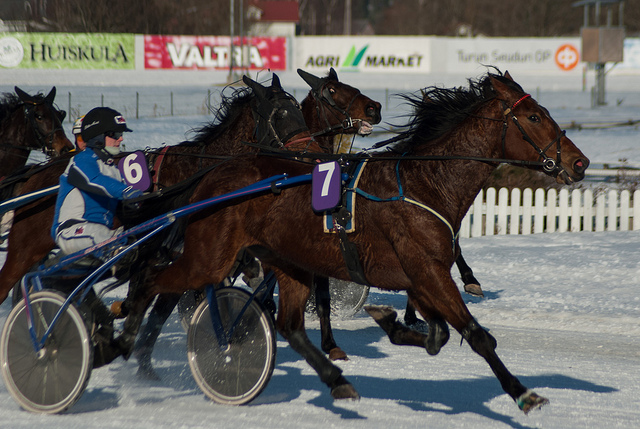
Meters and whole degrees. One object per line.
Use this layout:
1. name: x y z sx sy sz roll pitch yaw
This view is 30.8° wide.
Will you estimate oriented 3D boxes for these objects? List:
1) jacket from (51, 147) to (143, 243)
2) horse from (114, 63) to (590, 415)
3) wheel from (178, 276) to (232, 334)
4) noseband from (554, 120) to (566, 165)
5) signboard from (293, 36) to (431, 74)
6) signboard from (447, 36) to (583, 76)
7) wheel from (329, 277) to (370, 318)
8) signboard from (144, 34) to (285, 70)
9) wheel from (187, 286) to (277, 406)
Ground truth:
1. jacket: -2.516 -0.156 13.785 1.070 1.379 1.260 -1 4 -40
2. horse: 0.529 0.243 13.563 4.688 3.769 1.431 4 11 17
3. wheel: -1.540 1.137 14.836 0.671 0.733 0.156 3 -1 31
4. noseband: 2.699 -0.798 13.181 0.110 0.431 0.186 2 10 10
5. signboard: 1.303 -5.808 42.641 6.219 1.599 0.127 -1 30 -6
6. signboard: 7.121 -5.642 41.860 5.361 1.740 0.094 2 -23 9
7. wheel: 0.363 1.054 15.579 0.200 0.223 0.047 24 -21 -8
8. signboard: -3.520 -5.174 37.168 3.778 0.848 0.019 -5 9 -43
9. wheel: -1.021 1.562 13.449 1.048 1.268 0.156 11 -1 28
